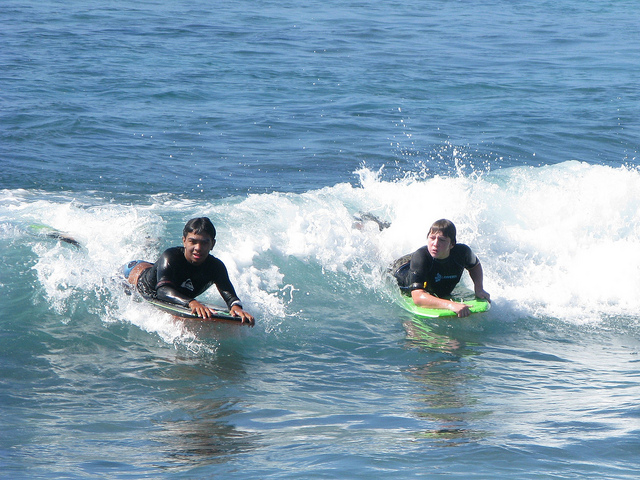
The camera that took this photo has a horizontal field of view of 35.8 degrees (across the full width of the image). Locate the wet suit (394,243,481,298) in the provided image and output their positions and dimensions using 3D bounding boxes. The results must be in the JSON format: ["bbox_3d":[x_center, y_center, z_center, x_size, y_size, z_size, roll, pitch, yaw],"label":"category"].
[{"bbox_3d":[2.027,0.348,16.971,1.357,0.500,1.420,-2,19,-2],"label":"wet suit"}]
